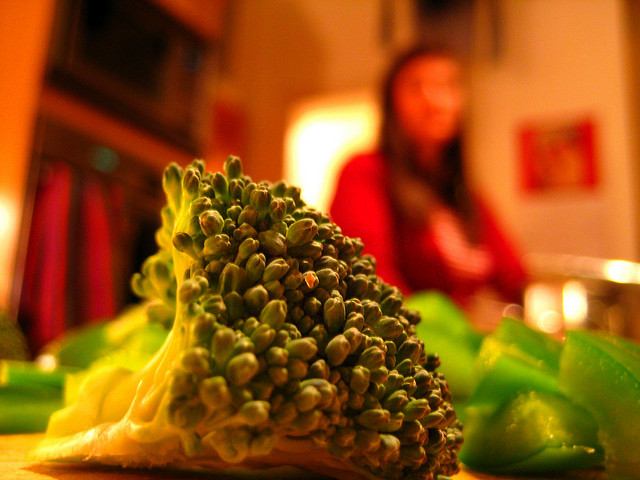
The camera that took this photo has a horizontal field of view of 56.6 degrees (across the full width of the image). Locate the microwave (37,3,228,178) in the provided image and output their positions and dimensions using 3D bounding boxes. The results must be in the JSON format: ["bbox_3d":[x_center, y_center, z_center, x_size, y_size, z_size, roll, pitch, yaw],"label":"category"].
[{"bbox_3d":[-0.413,-0.331,1.299,0.194,0.284,0.382,7,1,23],"label":"microwave"}]

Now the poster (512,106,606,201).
[{"bbox_3d":[0.602,-0.220,1.499,0.220,0.233,0.056,-4,14,6],"label":"poster"}]

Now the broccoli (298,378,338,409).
[{"bbox_3d":[-0.002,0.196,0.790,0.043,0.028,0.035,14,-2,13],"label":"broccoli"}]
